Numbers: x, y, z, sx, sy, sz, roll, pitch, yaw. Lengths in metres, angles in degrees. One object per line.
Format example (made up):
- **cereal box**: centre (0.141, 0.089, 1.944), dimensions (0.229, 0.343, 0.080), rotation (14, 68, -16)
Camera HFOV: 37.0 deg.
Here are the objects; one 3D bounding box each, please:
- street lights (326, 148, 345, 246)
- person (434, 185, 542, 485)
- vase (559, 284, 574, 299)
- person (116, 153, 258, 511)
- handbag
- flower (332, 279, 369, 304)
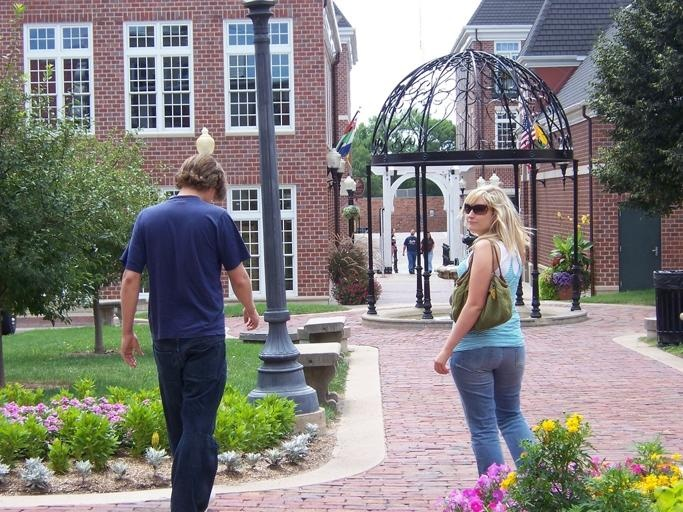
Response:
- **street lights**: centre (-0.120, -1.548, 26.496), dimensions (0.590, 2.599, 0.588), rotation (-1, 1, 23)
- **person**: centre (1.351, 0.674, 9.501), dimensions (0.906, 2.321, 0.508), rotation (-3, 1, -7)
- **vase**: centre (5.554, 0.859, 24.894), dimensions (0.421, 0.328, 0.431), rotation (1, 0, 31)
- **person**: centre (-1.404, 0.693, 9.404), dimensions (1.208, 3.151, 0.564), rotation (-3, 1, -13)
- **handbag**: centre (1.317, 0.417, 9.350), dimensions (0.444, 0.490, 0.236), rotation (-1, -8, 29)
- **flower**: centre (0.267, 0.902, 26.167), dimensions (0.618, 0.526, 0.650), rotation (-1, 6, 7)
